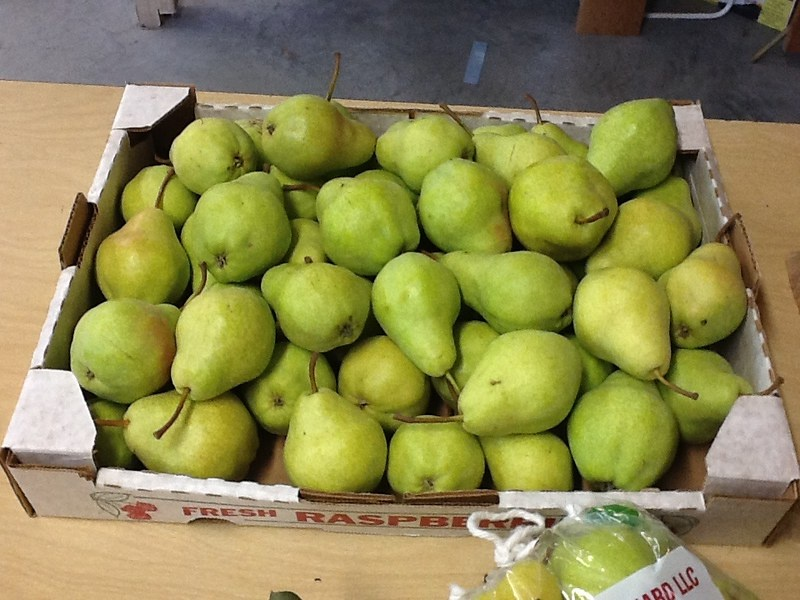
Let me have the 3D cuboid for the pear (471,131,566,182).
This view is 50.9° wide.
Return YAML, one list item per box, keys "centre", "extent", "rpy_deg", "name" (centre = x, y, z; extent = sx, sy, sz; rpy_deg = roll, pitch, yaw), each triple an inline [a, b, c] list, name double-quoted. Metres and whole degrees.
- centre: [0.258, -0.309, 1.830]
  extent: [0.174, 0.094, 0.100]
  rpy_deg: [20, 99, 29]
  name: "pear"

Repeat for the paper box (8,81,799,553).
- centre: [-0.212, -0.117, 1.611]
  extent: [1.298, 0.330, 0.975]
  rpy_deg: [3, 65, -1]
  name: "paper box"

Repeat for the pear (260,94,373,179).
- centre: [-0.177, -0.329, 1.770]
  extent: [0.207, 0.165, 0.175]
  rpy_deg: [-3, 88, -15]
  name: "pear"
